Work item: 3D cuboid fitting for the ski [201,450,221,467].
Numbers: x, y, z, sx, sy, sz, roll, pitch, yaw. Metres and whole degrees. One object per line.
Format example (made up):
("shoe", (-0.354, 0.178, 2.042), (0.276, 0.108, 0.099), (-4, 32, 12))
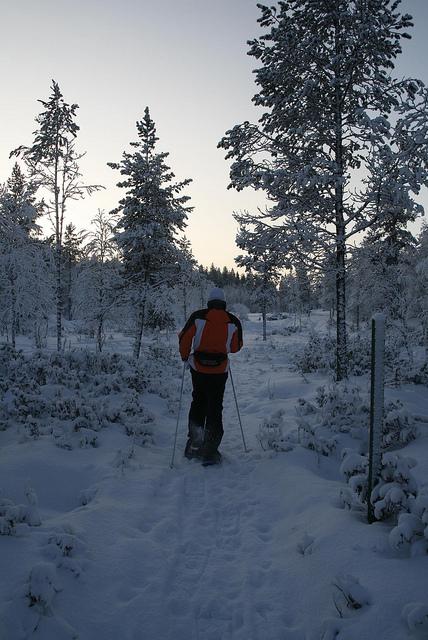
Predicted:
("ski", (-0.018, 1.801, 7.799), (0.361, 0.126, 0.152), (1, 13, -44))

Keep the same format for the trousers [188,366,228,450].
("trousers", (-0.117, 1.163, 7.922), (0.567, 1.060, 0.274), (11, 9, 2))

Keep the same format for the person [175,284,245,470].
("person", (-0.124, 0.840, 7.858), (0.799, 1.957, 0.680), (10, 9, 1))
